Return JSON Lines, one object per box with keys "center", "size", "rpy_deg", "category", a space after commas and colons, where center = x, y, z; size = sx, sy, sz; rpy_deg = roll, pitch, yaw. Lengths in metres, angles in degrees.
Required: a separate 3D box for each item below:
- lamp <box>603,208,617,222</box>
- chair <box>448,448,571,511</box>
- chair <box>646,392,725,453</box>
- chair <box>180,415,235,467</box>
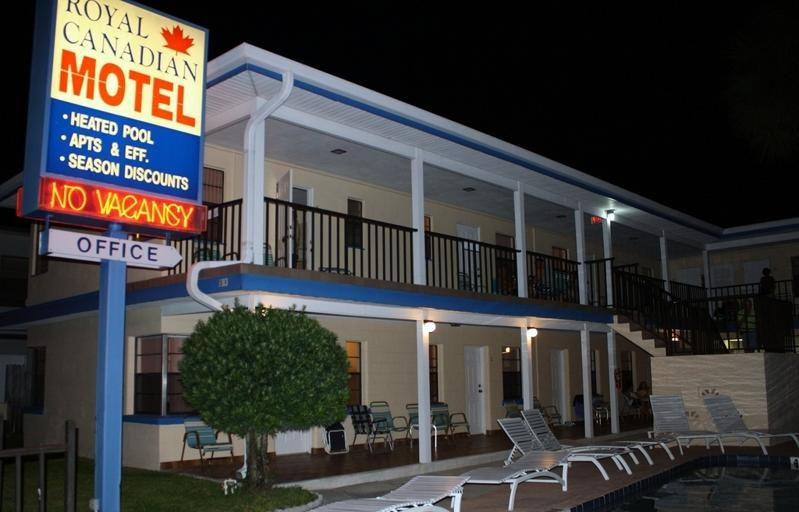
{"center": [6.451, -1.279, 21.179], "size": [0.408, 0.613, 0.413], "rpy_deg": [6, 11, 32], "category": "lamp"}
{"center": [2.186, 3.916, 12.526], "size": [0.793, 0.577, 2.374], "rpy_deg": [-2, -7, 34], "category": "chair"}
{"center": [6.941, 4.123, 17.059], "size": [1.223, 1.451, 2.118], "rpy_deg": [2, -8, -22], "category": "chair"}
{"center": [-4.336, 4.154, 15.373], "size": [1.124, 0.920, 1.030], "rpy_deg": [1, -7, 25], "category": "chair"}
